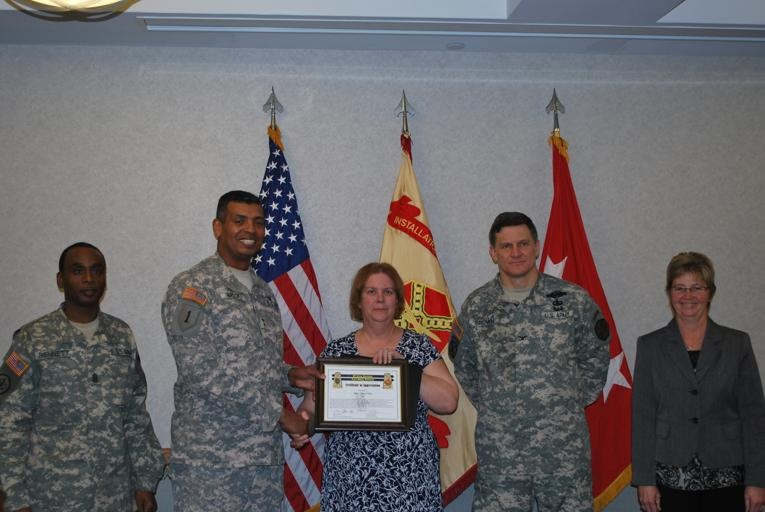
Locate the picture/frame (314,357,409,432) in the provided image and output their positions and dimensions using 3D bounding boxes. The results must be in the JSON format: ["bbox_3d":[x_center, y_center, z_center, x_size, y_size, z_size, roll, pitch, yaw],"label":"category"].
[{"bbox_3d":[-0.120,0.894,4.877,0.457,0.350,0.049,0,-9,2],"label":"picture/frame"}]
